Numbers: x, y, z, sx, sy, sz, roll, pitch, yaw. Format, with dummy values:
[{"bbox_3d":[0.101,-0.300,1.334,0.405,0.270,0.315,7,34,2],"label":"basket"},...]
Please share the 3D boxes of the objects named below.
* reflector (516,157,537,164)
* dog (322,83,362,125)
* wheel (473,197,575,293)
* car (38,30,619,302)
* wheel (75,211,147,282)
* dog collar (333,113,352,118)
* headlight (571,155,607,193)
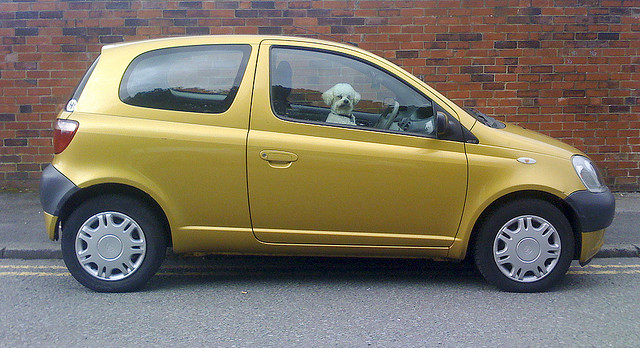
[{"bbox_3d":[2.968,-0.193,8.153,0.273,0.091,0.045,0,14,-6],"label":"reflector"},{"bbox_3d":[0.305,-0.993,8.511,0.749,0.730,0.514,1,-4,-4],"label":"dog"},{"bbox_3d":[2.999,1.050,8.418,1.439,1.403,0.453,-7,7,2],"label":"wheel"},{"bbox_3d":[0.187,-0.115,9.632,7.503,3.152,3.839,-1,1,-2],"label":"car"},{"bbox_3d":[-2.975,0.969,8.119,1.013,1.061,0.155,-1,1,-4],"label":"wheel"},{"bbox_3d":[0.351,-0.836,8.301,0.265,0.053,0.064,0,14,-9],"label":"dog collar"},{"bbox_3d":[3.938,-0.009,8.276,0.604,0.502,0.297,-5,16,-25],"label":"headlight"}]
